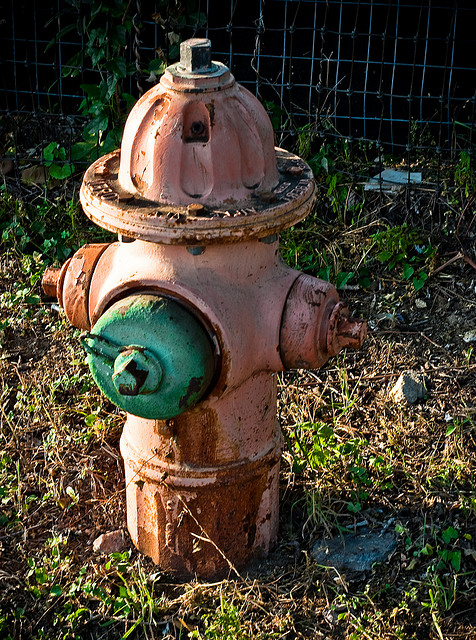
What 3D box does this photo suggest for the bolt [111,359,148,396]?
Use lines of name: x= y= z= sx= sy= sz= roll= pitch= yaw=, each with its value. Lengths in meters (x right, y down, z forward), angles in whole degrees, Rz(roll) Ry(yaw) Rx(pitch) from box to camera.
bolt: x=-0.220 y=0.119 z=1.414 sx=0.070 sy=0.074 sz=0.037 roll=-2 pitch=15 yaw=-7

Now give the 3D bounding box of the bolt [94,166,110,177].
bolt: x=-0.349 y=-0.378 z=1.742 sx=0.038 sy=0.008 sz=0.035 roll=16 pitch=42 yaw=18

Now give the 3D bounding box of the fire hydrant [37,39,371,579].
fire hydrant: x=-0.131 y=0.067 z=1.815 sx=0.708 sy=1.491 sz=0.610 roll=-10 pitch=18 yaw=-33

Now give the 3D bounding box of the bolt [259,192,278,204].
bolt: x=0.069 y=-0.274 z=1.553 sx=0.036 sy=0.025 sz=0.012 roll=9 pitch=-11 yaw=14

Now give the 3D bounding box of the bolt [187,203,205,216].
bolt: x=-0.090 y=-0.238 z=1.481 sx=0.030 sy=0.007 sz=0.028 roll=-1 pitch=34 yaw=-5

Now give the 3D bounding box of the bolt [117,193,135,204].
bolt: x=-0.254 y=-0.279 z=1.561 sx=0.032 sy=0.008 sz=0.032 roll=-1 pitch=30 yaw=0

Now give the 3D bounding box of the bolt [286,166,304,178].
bolt: x=0.144 y=-0.377 z=1.754 sx=0.036 sy=0.017 sz=0.034 roll=-1 pitch=35 yaw=-1
